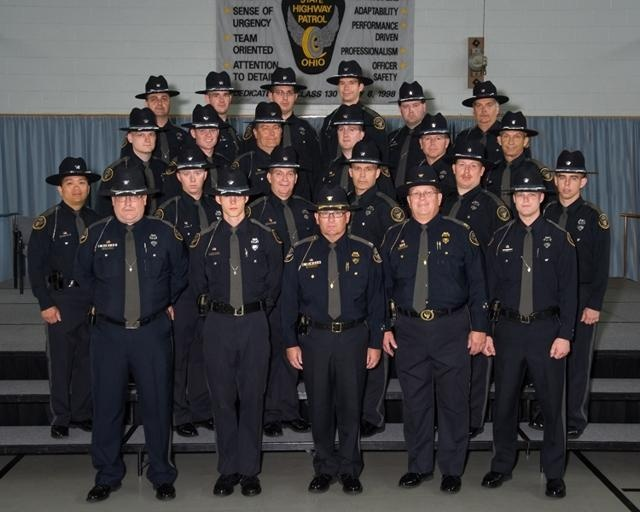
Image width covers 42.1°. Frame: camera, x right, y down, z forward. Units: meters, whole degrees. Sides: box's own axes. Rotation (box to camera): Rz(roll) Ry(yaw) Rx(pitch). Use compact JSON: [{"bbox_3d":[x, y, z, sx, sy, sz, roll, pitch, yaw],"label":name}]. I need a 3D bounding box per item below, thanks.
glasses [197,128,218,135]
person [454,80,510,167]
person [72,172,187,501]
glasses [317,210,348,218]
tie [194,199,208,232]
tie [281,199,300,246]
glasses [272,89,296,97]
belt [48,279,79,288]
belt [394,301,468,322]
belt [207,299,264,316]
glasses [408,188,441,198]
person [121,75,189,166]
[{"bbox_3d":[-1.116,-1.243,8.268,0.185,0.055,0.090,-5,11,-28],"label":"glasses"},{"bbox_3d":[1.788,-1.351,8.928,0.877,1.039,0.589,-1,4,8],"label":"person"},{"bbox_3d":[-1.614,0.675,7.174,0.924,2.846,0.592,-2,11,-11],"label":"person"},{"bbox_3d":[0.118,-0.368,7.168,0.239,0.067,0.079,-1,10,-5],"label":"glasses"},{"bbox_3d":[-1.111,-0.376,7.818,0.102,0.102,0.387,-20,49,0],"label":"tie"},{"bbox_3d":[-0.277,-0.316,7.875,0.098,0.445,0.057,-14,-17,-6],"label":"tie"},{"bbox_3d":[-0.374,-1.720,8.770,0.247,0.090,0.127,-2,10,-9],"label":"glasses"},{"bbox_3d":[-2.385,0.252,7.752,0.169,0.052,0.166,1,-2,-2],"label":"belt"},{"bbox_3d":[0.970,0.488,7.237,0.622,0.110,0.159,0,10,2],"label":"belt"},{"bbox_3d":[-0.726,0.444,7.171,0.464,0.107,0.134,0,10,-2],"label":"belt"},{"bbox_3d":[0.921,-0.559,7.282,0.272,0.091,0.125,0,10,3],"label":"glasses"},{"bbox_3d":[-1.789,-1.461,9.254,1.048,1.048,0.579,-4,8,-16],"label":"person"}]
